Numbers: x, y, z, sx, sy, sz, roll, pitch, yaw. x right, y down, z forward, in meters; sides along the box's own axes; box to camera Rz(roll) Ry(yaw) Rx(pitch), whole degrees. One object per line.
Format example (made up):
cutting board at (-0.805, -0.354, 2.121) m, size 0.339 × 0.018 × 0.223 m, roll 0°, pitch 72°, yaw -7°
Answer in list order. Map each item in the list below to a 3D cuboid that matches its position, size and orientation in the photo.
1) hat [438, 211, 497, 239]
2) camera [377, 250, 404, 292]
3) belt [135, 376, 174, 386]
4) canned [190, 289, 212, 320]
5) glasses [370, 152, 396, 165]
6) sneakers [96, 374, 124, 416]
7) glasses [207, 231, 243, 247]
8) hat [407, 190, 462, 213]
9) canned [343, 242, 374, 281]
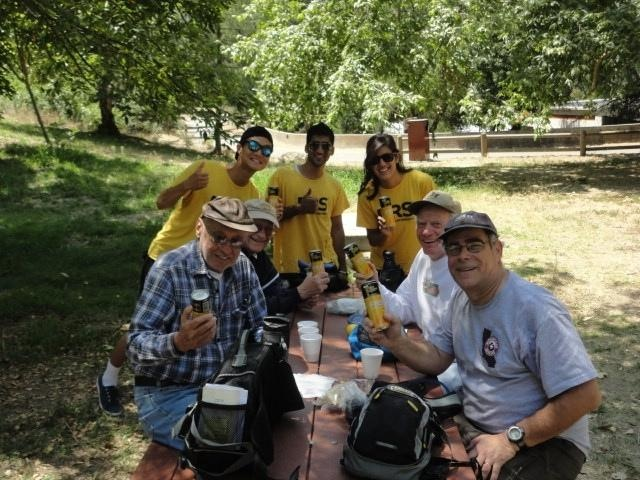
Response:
hat at (1.016, -0.097, 3.453) m, size 0.269 × 0.116 × 0.195 m, roll 25°, pitch -30°, yaw -30°
camera at (0.703, 0.329, 5.215) m, size 0.270 × 0.489 × 0.268 m, roll -11°, pitch 39°, yaw -5°
belt at (-1.198, 0.999, 3.611) m, size 0.128 × 0.029 × 0.123 m, roll 8°, pitch -5°, yaw -2°
canned at (-0.754, 0.408, 3.189) m, size 0.126 × 0.201 × 0.123 m, roll 20°, pitch 32°, yaw 31°
glasses at (0.676, -0.886, 5.620) m, size 0.272 × 0.125 × 0.105 m, roll 1°, pitch 12°, yaw 6°
sneakers at (-2.106, 1.554, 5.082) m, size 0.170 × 0.370 × 0.269 m, roll -7°, pitch 14°, yaw -30°
glasses at (-0.664, 0.000, 3.573) m, size 0.245 × 0.131 × 0.057 m, roll -1°, pitch 13°, yaw -8°
hat at (0.988, -0.312, 4.361) m, size 0.322 × 0.139 × 0.220 m, roll 6°, pitch -4°, yaw -16°
canned at (0.306, 0.184, 4.198) m, size 0.132 × 0.287 × 0.140 m, roll -20°, pitch -11°, yaw -47°
